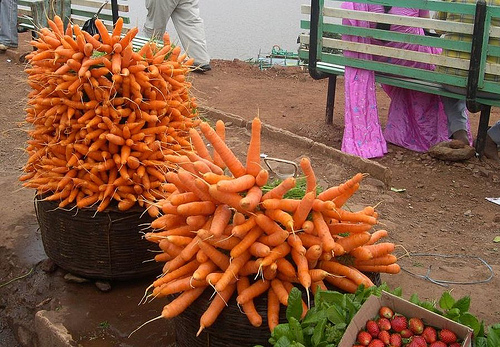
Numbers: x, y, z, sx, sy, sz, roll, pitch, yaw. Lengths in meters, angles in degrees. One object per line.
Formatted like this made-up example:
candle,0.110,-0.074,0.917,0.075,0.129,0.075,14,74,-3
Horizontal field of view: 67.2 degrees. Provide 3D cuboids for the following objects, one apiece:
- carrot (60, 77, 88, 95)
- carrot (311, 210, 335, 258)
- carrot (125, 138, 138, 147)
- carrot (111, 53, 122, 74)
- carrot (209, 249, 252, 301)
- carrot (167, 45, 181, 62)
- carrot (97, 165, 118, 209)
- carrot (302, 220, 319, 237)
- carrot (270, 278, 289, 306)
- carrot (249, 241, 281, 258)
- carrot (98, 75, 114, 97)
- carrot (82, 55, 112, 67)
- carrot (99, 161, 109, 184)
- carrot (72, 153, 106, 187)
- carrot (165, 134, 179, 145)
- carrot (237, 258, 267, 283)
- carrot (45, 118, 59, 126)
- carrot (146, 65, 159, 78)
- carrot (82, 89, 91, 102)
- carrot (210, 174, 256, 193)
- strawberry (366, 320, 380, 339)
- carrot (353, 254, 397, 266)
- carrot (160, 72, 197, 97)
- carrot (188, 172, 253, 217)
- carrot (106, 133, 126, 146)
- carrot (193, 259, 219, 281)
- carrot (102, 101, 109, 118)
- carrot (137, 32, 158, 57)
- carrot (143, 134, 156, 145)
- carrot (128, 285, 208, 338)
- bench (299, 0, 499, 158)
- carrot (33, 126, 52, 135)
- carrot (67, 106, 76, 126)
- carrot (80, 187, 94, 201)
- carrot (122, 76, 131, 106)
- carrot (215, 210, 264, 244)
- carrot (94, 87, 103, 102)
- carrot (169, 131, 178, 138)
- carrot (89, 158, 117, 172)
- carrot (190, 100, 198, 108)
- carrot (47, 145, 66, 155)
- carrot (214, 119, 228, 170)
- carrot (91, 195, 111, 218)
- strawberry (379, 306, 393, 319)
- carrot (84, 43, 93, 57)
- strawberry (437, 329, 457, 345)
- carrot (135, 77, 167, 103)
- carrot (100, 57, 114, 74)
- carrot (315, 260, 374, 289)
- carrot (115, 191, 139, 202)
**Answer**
carrot,-1.435,-0.708,3.037,0.033,0.157,0.043,36,-9,8
carrot,0.456,0.358,2.399,0.089,0.075,0.345,25,34,-35
carrot,-1.004,-0.255,3.146,0.072,0.037,0.042,9,43,19
carrot,-1.078,-0.889,3.045,0.062,0.062,0.202,22,42,-36
carrot,-0.088,0.562,2.398,0.086,0.097,0.487,28,57,16
carrot,-0.708,-1.093,3.455,0.062,0.196,0.061,25,22,-16
carrot,-1.201,0.099,3.214,0.063,0.324,0.067,20,-16,6
carrot,0.376,0.361,2.403,0.061,0.146,0.070,-31,48,20
carrot,0.184,0.737,2.387,0.060,0.062,0.197,13,28,-26
carrot,0.070,0.465,2.310,0.059,0.058,0.160,-20,16,-41
carrot,-1.192,-0.728,3.068,0.064,0.221,0.069,-31,-2,27
carrot,-1.256,-0.903,3.044,0.173,0.037,0.041,-23,44,-14
carrot,-1.265,0.000,3.268,0.052,0.195,0.052,-8,16,-2
carrot,-1.377,0.008,3.186,0.049,0.234,0.045,-46,13,7
carrot,-0.713,-0.303,3.312,0.074,0.078,0.049,1,21,-2
carrot,-0.002,0.594,2.383,0.185,0.097,0.063,-10,22,32
carrot,-1.667,-0.425,3.154,0.044,0.059,0.210,-9,6,-15
carrot,-0.819,-0.851,3.162,0.094,0.098,0.033,-20,-18,25
carrot,-1.386,-0.646,3.157,0.037,0.142,0.030,-5,21,42
carrot,-0.077,0.047,2.348,0.087,0.107,0.434,5,12,32
strawberry,0.720,0.909,2.200,0.057,0.054,0.089,-20,63,-10
carrot,0.813,0.569,2.480,0.327,0.077,0.086,0,20,3
carrot,-0.635,-0.784,3.397,0.372,0.054,0.057,26,1,-32
carrot,-0.146,0.151,2.284,0.519,0.109,0.099,28,-16,-19
carrot,-1.110,-0.270,3.134,0.056,0.059,0.179,35,0,42
carrot,-0.284,0.600,2.361,0.061,0.060,0.186,-17,3,39
carrot,-1.176,-0.512,3.059,0.036,0.130,0.044,1,10,10
carrot,-0.871,-1.088,3.187,0.040,0.048,0.207,31,74,31
carrot,-0.870,-0.288,3.225,0.055,0.033,0.103,10,25,-3
carrot,-0.494,0.859,2.418,0.094,0.090,0.642,37,30,21
bench,2.240,-1.362,5.514,2.393,1.756,0.993,22,38,32
carrot,-1.835,-0.359,3.306,0.190,0.057,0.056,-21,37,33
carrot,-1.475,-0.469,3.079,0.042,0.043,0.170,-2,57,-3
carrot,-1.431,0.170,3.278,0.102,0.058,0.033,34,27,13
carrot,-1.011,-0.667,3.091,0.053,0.218,0.057,-3,13,-9
carrot,-0.041,0.328,2.357,0.305,0.072,0.060,-39,14,-34
carrot,-1.251,-0.642,3.100,0.034,0.119,0.037,-9,22,7
carrot,-0.689,-0.347,3.368,0.023,0.045,0.081,0,1,29
carrot,-1.264,-0.065,3.172,0.232,0.083,0.074,-15,7,-40
carrot,-0.558,-0.658,3.652,0.023,0.056,0.031,-30,56,16
carrot,-1.662,-0.201,3.244,0.134,0.098,0.051,0,20,-4
carrot,-0.201,-0.205,2.578,0.074,0.360,0.094,-5,-7,-18
carrot,-1.272,0.269,3.236,0.248,0.047,0.050,-56,15,-17
strawberry,0.813,0.830,2.246,0.060,0.076,0.060,-14,-19,23
carrot,-1.303,-0.983,3.020,0.067,0.107,0.095,-7,22,-22
strawberry,1.118,0.921,2.129,0.085,0.066,0.064,6,1,-8
carrot,-0.823,-0.692,3.138,0.281,0.051,0.067,39,22,-13
carrot,-1.161,-0.860,3.020,0.038,0.132,0.037,-30,-7,35
carrot,0.598,0.656,2.445,0.329,0.093,0.071,19,42,6
carrot,-1.075,0.195,3.264,0.246,0.075,0.067,13,4,-3
